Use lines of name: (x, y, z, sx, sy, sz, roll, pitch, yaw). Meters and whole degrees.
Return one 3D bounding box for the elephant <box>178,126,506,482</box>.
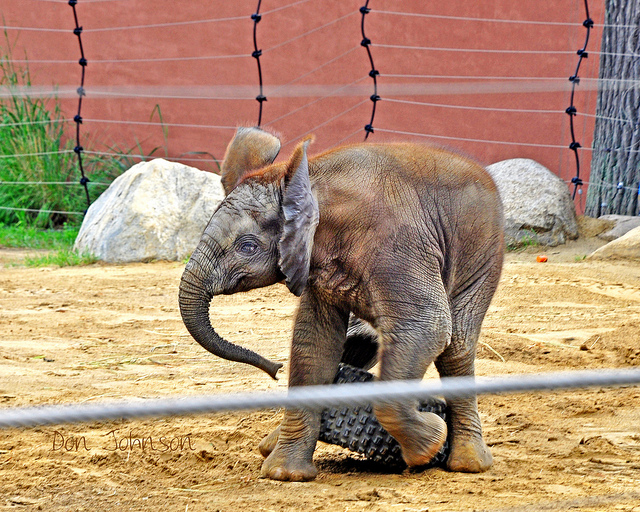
elephant: (0.223, 0.312, 6.396, 2.157, 1.695, 0.917, 0, -1, -34)
